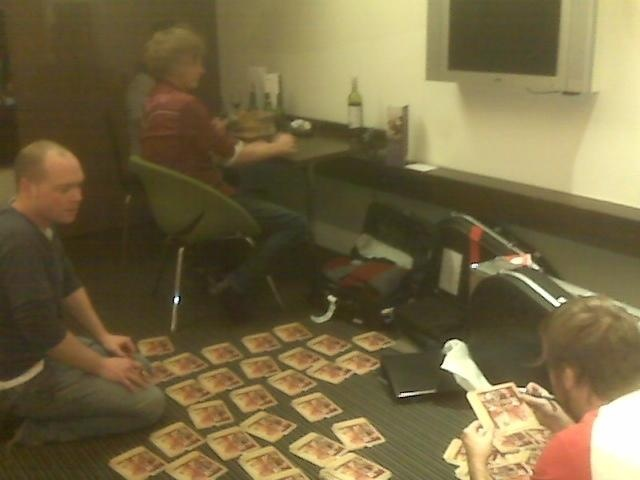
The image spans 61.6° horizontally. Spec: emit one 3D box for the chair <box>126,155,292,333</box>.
[{"bbox_3d":[-0.483,-0.006,2.328,0.658,0.751,0.591,-8,15,-5],"label":"chair"}]
